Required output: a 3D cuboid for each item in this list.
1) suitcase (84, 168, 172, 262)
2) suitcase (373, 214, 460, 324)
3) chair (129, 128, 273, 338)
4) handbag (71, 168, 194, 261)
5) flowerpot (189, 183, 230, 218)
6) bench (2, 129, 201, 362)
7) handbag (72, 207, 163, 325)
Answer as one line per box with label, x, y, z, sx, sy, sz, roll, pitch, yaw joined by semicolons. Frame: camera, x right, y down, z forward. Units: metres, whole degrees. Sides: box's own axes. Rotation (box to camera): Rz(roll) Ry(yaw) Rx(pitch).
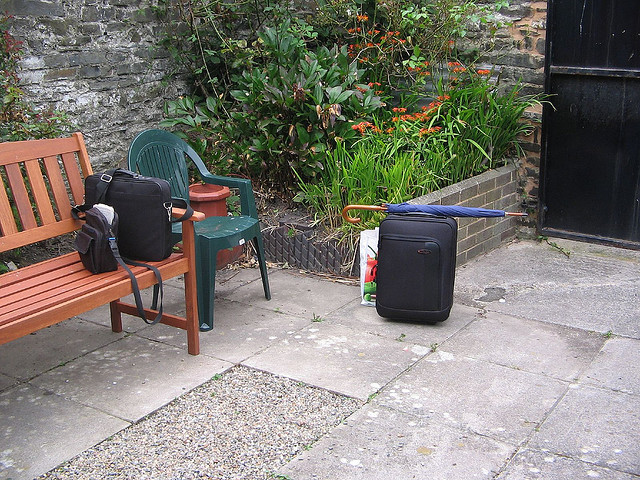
suitcase;-1.021;-0.153;2.801;0.518;0.458;0.197;8;20;21
suitcase;0.629;0.180;3.315;0.521;0.647;0.363;5;9;31
chair;-0.772;-0.074;3.416;0.953;1.049;0.865;5;21;-1
handbag;-1.009;-0.144;2.825;0.731;0.464;0.340;7;17;17
flowerpot;-0.844;-0.323;3.962;0.298;0.237;0.293;-4;19;-13
bench;-1.216;0.062;2.899;0.577;0.955;1.343;14;19;30
handbag;-0.957;0.089;2.580;0.330;0.287;0.740;-11;37;-41
